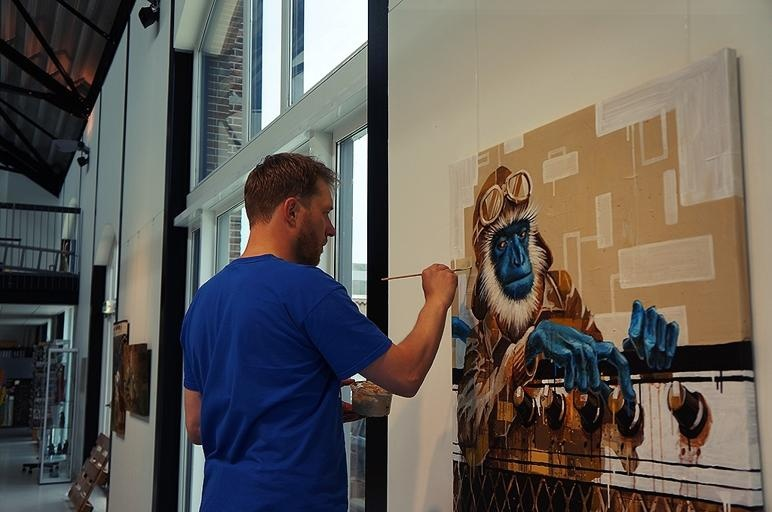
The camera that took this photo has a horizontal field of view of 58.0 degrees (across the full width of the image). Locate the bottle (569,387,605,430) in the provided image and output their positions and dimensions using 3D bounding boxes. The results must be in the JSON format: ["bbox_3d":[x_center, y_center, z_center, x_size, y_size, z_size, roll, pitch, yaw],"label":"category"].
[{"bbox_3d":[0.598,0.452,2.098,0.080,0.113,0.096,5,5,-13],"label":"bottle"}]

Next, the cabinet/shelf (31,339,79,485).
[{"bbox_3d":[-4.923,2.417,10.526,0.466,1.947,0.949,5,-14,-25],"label":"cabinet/shelf"}]

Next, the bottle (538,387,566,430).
[{"bbox_3d":[0.518,0.470,2.142,0.013,0.124,0.086,9,-17,-38],"label":"bottle"}]

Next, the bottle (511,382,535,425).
[{"bbox_3d":[0.446,0.479,2.213,0.012,0.125,0.091,8,-16,-37],"label":"bottle"}]
